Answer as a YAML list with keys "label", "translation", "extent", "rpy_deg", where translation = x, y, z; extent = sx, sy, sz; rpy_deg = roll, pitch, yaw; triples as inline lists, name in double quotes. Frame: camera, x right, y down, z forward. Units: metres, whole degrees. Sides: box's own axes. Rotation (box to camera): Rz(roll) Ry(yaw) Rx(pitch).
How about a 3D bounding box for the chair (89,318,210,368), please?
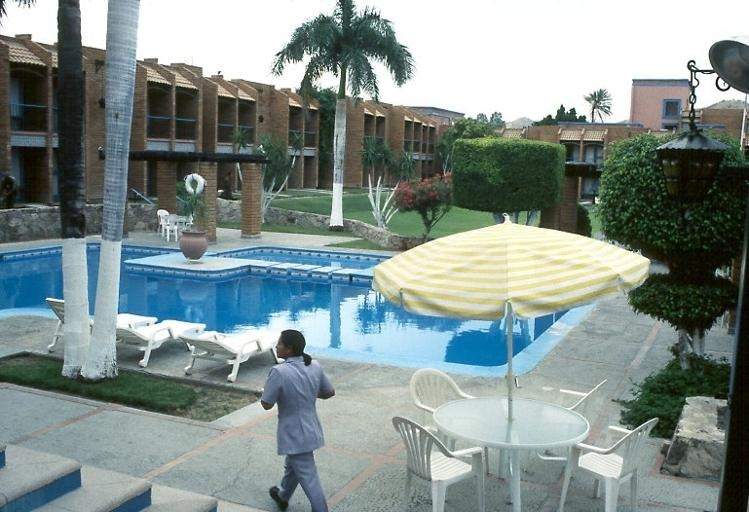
- label: "chair"
  translation: [-4.029, 1.551, 11.530]
  extent: [0.779, 0.540, 1.414]
  rpy_deg: [7, 12, 35]

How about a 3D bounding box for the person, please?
- label: "person"
  translation: [-0.818, 1.718, 6.389]
  extent: [0.718, 1.883, 0.483]
  rpy_deg: [0, 5, -5]

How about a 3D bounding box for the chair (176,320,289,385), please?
- label: "chair"
  translation: [-2.485, 1.608, 11.027]
  extent: [1.037, 0.776, 2.234]
  rpy_deg: [4, 9, 25]

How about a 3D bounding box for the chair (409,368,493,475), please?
- label: "chair"
  translation: [0.900, 2.018, 8.425]
  extent: [1.156, 1.484, 1.124]
  rpy_deg: [-7, 3, -44]

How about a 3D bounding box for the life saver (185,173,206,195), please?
- label: "life saver"
  translation: [-7.452, -3.003, 25.397]
  extent: [0.916, 0.879, 0.245]
  rpy_deg: [7, 5, 21]

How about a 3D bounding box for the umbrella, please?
- label: "umbrella"
  translation: [1.604, 0.754, 7.222]
  extent: [3.175, 1.979, 3.139]
  rpy_deg: [-9, 5, -36]

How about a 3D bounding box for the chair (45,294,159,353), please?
- label: "chair"
  translation: [-5.305, 1.259, 12.078]
  extent: [1.198, 0.949, 2.062]
  rpy_deg: [6, 9, 30]
